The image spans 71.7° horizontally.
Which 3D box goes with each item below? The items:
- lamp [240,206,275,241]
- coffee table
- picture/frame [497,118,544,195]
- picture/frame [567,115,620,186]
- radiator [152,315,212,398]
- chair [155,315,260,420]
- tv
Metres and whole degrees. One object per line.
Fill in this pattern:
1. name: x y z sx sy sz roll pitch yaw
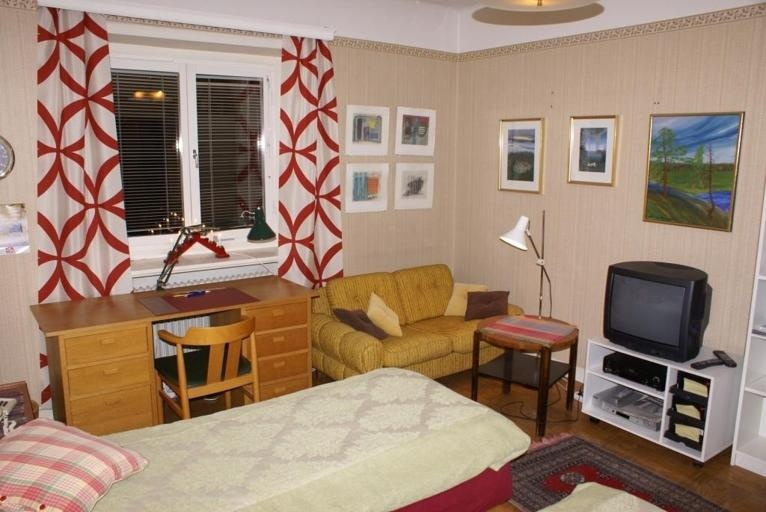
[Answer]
1. lamp: -1.216 -0.290 5.022 0.405 0.332 0.335 1 9 13
2. coffee table: 1.249 1.083 4.976 1.040 0.846 0.967 7 12 42
3. picture/frame: 1.475 -1.052 5.650 0.146 0.747 0.551 -11 17 -36
4. picture/frame: 2.031 -0.999 5.122 0.119 0.628 0.511 -11 17 -35
5. radiator: -1.855 0.757 4.917 0.570 0.380 0.031 -12 -20 2
6. chair: -1.391 0.895 4.226 0.698 0.977 0.735 -10 27 -34
7. tv: 2.378 0.357 4.625 0.845 0.712 0.821 9 16 43
